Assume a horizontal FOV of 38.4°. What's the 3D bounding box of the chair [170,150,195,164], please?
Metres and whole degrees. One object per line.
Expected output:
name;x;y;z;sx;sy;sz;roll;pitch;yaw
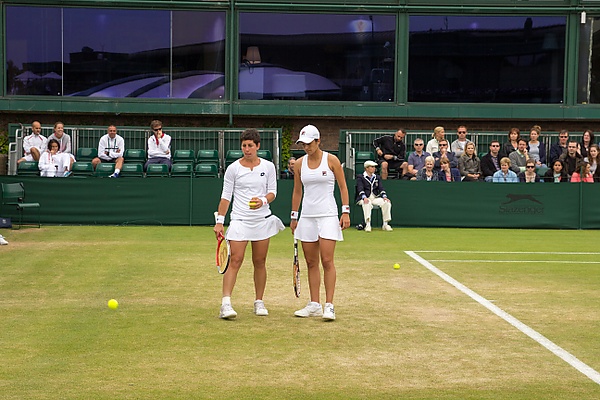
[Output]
chair;-3.740;-1.442;27.950;0.553;0.528;0.477;0;-5;-3

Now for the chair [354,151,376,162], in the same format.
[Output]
chair;2.281;-1.426;28.340;0.437;0.473;0.402;0;-4;-1

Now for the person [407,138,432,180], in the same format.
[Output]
person;3.889;-1.245;26.657;0.913;1.321;0.900;-6;10;-15

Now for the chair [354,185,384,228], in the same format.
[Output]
chair;2.269;0.259;25.139;1.083;1.004;0.818;-1;3;-16

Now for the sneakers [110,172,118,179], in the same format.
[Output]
sneakers;-5.675;-0.761;26.226;0.416;0.185;0.144;6;6;28

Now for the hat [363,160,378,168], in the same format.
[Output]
hat;2.149;-1.054;24.809;0.241;0.112;0.342;-3;-1;-30

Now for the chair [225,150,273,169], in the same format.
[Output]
chair;-1.162;-0.975;20.466;1.023;0.641;0.452;0;-2;-3

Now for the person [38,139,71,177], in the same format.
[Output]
person;-7.506;-1.236;26.208;0.897;1.296;1.133;-2;0;-43

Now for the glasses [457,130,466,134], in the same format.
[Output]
glasses;5.300;-2.149;26.995;0.241;0.162;0.318;0;3;4

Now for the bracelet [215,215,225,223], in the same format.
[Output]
bracelet;-1.521;0.358;16.535;0.157;0.161;0.166;2;-5;28

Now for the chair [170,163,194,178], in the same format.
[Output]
chair;-3.675;-0.958;26.921;0.553;0.471;0.543;1;10;-2

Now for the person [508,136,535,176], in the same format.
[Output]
person;7.074;-1.373;26.412;0.718;1.093;0.583;-4;-21;20

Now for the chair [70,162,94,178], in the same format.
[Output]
chair;-6.814;-0.987;26.802;0.526;0.448;0.427;3;37;-7

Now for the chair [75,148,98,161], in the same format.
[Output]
chair;-6.952;-1.491;27.888;0.515;0.487;0.449;0;-1;-8

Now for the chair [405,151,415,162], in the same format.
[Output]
chair;3.703;-1.383;27.055;0.328;0.430;0.353;2;6;-2

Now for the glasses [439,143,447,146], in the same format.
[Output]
glasses;4.547;-1.726;26.143;0.236;0.123;0.244;0;3;11

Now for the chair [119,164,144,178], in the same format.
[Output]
chair;-5.252;-0.955;26.752;0.697;0.395;0.490;0;3;-4

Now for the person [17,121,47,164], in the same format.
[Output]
person;-8.411;-1.675;26.908;0.847;1.503;0.914;2;1;-28

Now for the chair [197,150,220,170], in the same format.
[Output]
chair;-2.942;-1.350;28.182;0.725;0.671;0.599;0;5;-9

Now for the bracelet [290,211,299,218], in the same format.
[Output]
bracelet;-0.044;0.280;16.755;0.143;0.119;0.146;-1;-3;1

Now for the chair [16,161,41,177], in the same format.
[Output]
chair;-8.408;-0.995;26.396;0.686;0.396;0.604;-1;3;-18

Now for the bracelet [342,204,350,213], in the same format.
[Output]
bracelet;0.980;0.172;16.598;0.137;0.110;0.141;1;-5;-7

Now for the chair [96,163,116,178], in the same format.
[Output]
chair;-6.128;-0.947;26.911;0.480;0.287;0.468;1;3;-3

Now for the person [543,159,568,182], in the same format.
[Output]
person;7.980;-0.895;26.180;0.804;0.650;0.753;-4;5;-45

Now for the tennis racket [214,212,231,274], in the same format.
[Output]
tennis racket;-1.542;0.899;17.342;0.114;0.567;1.381;18;19;-18

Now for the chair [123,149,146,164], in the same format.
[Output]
chair;-5.336;-1.430;27.789;0.562;0.503;0.458;0;-4;-6

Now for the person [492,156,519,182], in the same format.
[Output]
person;6.434;-0.915;26.028;0.681;1.293;0.479;-2;-13;15

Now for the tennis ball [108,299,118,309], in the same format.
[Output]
tennis ball;-3.703;2.058;17.014;0.176;0.196;0.172;3;2;0

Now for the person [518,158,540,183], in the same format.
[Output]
person;7.177;-0.898;25.913;0.801;0.682;0.504;-3;4;-40

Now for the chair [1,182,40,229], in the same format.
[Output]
chair;-8.018;0.128;24.494;1.055;1.260;0.897;-1;3;-18

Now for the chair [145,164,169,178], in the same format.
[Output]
chair;-4.412;-0.941;26.687;0.685;0.381;0.597;-1;3;-10

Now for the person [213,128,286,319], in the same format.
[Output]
person;-0.966;0.665;16.592;1.252;3.211;0.605;-1;3;-5

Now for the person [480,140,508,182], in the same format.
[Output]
person;6.198;-1.177;26.220;0.994;1.269;1.033;2;10;28

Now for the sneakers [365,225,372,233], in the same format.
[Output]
sneakers;2.108;0.830;24.877;0.203;0.178;0.463;0;1;5

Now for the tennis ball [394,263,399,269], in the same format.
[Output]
tennis ball;2.367;1.535;19.897;0.087;0.107;0.091;-2;-12;0

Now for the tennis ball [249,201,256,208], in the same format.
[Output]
tennis ball;-0.852;0.082;16.434;0.136;0.151;0.134;0;3;0
